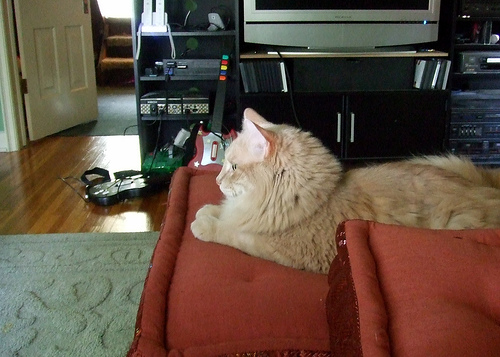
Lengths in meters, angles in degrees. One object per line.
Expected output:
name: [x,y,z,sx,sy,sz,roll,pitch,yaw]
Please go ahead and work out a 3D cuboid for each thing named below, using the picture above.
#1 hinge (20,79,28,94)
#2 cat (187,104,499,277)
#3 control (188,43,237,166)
hinge: [-1.991,-0.820,3.504,0.081,0.103,0.025,3,2,3]
cat: [0.171,0.005,1.346,1.024,0.560,0.393,2,17,14]
control: [-0.251,-0.463,2.816,0.297,0.909,0.339,0,20,-3]
